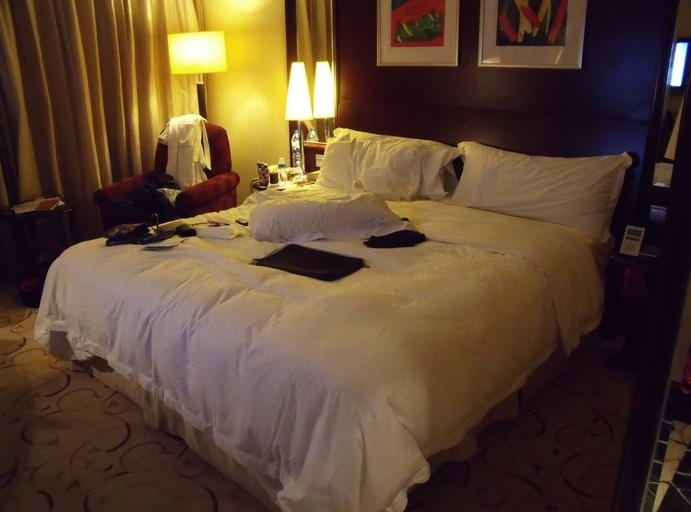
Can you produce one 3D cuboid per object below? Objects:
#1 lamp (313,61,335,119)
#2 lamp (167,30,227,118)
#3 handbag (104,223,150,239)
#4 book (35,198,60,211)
[{"bbox_3d":[-0.198,-1.494,4.712,0.232,0.479,0.211,-9,21,-20],"label":"lamp"},{"bbox_3d":[-1.291,-1.664,4.690,0.555,0.909,0.542,-10,29,-14],"label":"lamp"},{"bbox_3d":[-1.279,-0.153,3.067,0.143,0.047,0.120,-9,16,-28],"label":"handbag"},{"bbox_3d":[-2.322,-0.400,4.065,0.109,0.029,0.115,-5,20,-16],"label":"book"}]
